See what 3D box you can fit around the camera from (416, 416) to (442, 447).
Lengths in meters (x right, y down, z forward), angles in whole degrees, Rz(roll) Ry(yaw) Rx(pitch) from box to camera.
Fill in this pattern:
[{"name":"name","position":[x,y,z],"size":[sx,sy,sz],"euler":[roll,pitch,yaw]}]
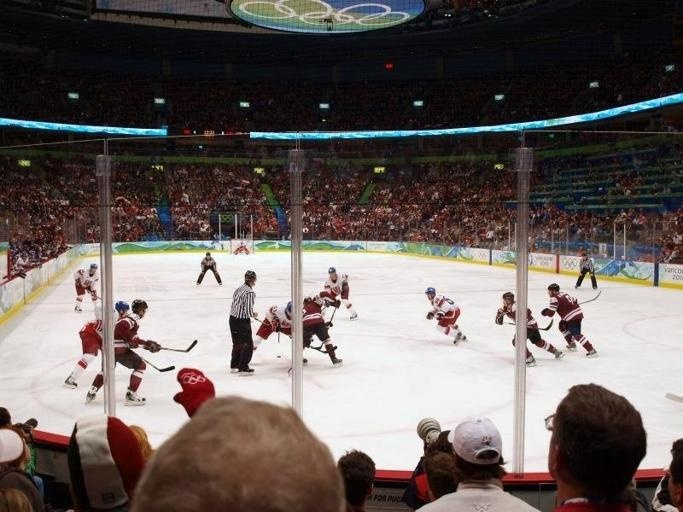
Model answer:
[{"name":"camera","position":[0.785,1.546,6.241],"size":[0.174,0.196,0.286],"euler":[0,4,-7]}]

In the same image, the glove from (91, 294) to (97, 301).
[{"name":"glove","position":[-5.312,0.885,15.520],"size":[0.169,0.114,0.165],"euler":[-1,1,-34]}]

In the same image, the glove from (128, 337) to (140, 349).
[{"name":"glove","position":[-2.705,1.152,9.505],"size":[0.119,0.168,0.065],"euler":[2,21,5]}]

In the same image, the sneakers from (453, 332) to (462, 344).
[{"name":"sneakers","position":[1.998,1.390,12.254],"size":[0.136,0.211,0.130],"euler":[0,5,-4]}]

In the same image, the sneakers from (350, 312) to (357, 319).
[{"name":"sneakers","position":[0.257,1.193,14.415],"size":[0.113,0.148,0.350],"euler":[0,-5,13]}]

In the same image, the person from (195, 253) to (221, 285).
[{"name":"person","position":[-3.748,0.385,20.186],"size":[0.885,1.169,0.731],"euler":[-1,9,-10]}]

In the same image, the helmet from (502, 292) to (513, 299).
[{"name":"helmet","position":[2.677,0.635,11.512],"size":[0.130,0.095,0.128],"euler":[0,0,-27]}]

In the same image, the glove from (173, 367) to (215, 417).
[{"name":"glove","position":[-1.123,1.035,5.509],"size":[0.291,0.350,0.196],"euler":[5,6,41]}]

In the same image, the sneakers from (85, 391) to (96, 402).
[{"name":"sneakers","position":[-3.248,1.828,9.348],"size":[0.122,0.069,0.173],"euler":[1,-19,-4]}]

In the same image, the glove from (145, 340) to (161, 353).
[{"name":"glove","position":[-2.504,1.217,9.582],"size":[0.168,0.103,0.206],"euler":[2,10,-18]}]

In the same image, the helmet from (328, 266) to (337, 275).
[{"name":"helmet","position":[-0.175,0.287,14.340],"size":[0.125,0.137,0.148],"euler":[-1,-3,7]}]

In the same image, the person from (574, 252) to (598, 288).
[{"name":"person","position":[6.382,0.355,18.715],"size":[0.581,1.278,0.455],"euler":[-9,40,10]}]

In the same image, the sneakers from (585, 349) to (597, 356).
[{"name":"sneakers","position":[3.994,1.536,11.501],"size":[0.105,0.069,0.129],"euler":[0,-3,-44]}]

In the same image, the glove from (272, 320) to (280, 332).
[{"name":"glove","position":[-0.982,1.065,11.006],"size":[0.107,0.150,0.055],"euler":[6,-1,-4]}]

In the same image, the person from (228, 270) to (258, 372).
[{"name":"person","position":[-1.437,0.952,10.579],"size":[0.375,1.450,0.757],"euler":[0,5,-8]}]

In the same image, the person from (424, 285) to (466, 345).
[{"name":"person","position":[1.938,1.132,13.423],"size":[0.443,0.381,0.791],"euler":[-15,38,-1]}]

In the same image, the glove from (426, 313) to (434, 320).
[{"name":"glove","position":[1.574,1.069,12.526],"size":[0.148,0.077,0.190],"euler":[-1,5,1]}]

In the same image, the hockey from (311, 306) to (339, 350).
[{"name":"hockey","position":[-0.203,1.208,13.024],"size":[0.168,0.559,0.556],"euler":[12,8,3]}]

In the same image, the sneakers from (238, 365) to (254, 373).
[{"name":"sneakers","position":[-1.359,1.635,10.392],"size":[0.234,0.110,0.093],"euler":[1,6,-8]}]

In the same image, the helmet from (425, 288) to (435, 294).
[{"name":"helmet","position":[1.611,0.615,12.864],"size":[0.154,0.128,0.200],"euler":[0,-3,0]}]
